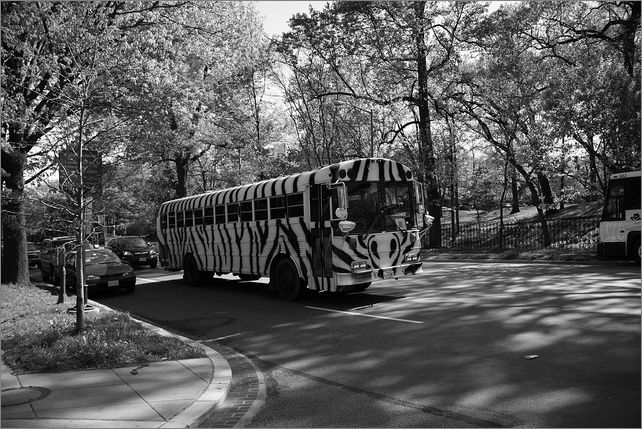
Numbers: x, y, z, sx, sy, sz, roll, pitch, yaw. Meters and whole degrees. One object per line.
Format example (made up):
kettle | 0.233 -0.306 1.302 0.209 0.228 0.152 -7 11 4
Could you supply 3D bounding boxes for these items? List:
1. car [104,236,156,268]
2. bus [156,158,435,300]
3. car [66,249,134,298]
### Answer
car | -11.252 2.171 33.021 1.700 1.454 2.789 1 -8 -40
bus | -2.160 1.061 22.720 4.051 4.535 13.912 1 -6 -40
car | -8.799 2.339 22.272 1.884 1.422 4.074 1 -7 -37
